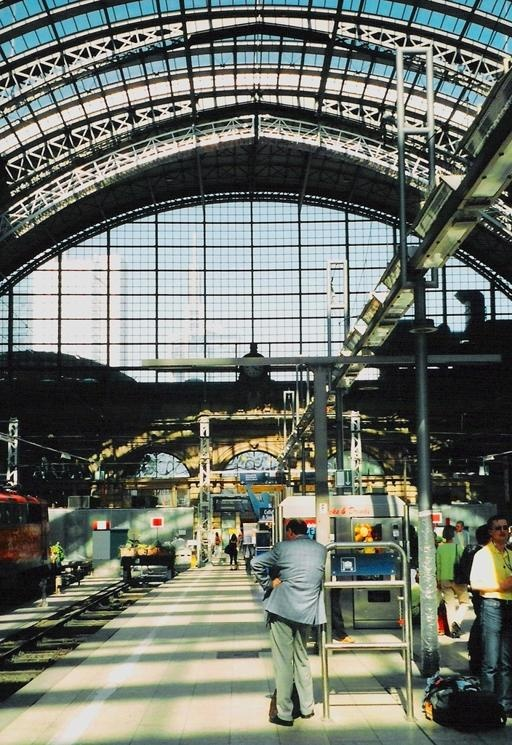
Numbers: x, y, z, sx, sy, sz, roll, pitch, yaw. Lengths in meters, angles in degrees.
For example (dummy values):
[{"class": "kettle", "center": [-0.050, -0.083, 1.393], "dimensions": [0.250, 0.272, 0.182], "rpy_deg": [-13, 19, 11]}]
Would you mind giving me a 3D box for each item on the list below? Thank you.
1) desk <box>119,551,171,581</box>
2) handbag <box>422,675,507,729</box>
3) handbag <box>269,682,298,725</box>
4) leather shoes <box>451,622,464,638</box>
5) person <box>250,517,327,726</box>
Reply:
[{"class": "desk", "center": [-4.726, 8.259, 34.250], "dimensions": [2.001, 1.355, 9.205], "rpy_deg": [-1, -9, -8]}, {"class": "handbag", "center": [1.741, 2.811, 6.752], "dimensions": [0.511, 0.313, 0.741], "rpy_deg": [2, -10, -25]}, {"class": "handbag", "center": [0.258, 2.929, 6.922], "dimensions": [0.131, 0.275, 0.397], "rpy_deg": [4, -5, -11]}, {"class": "leather shoes", "center": [3.064, 3.920, 11.982], "dimensions": [0.093, 0.282, 0.114], "rpy_deg": [-2, 33, 6]}, {"class": "person", "center": [0.331, 2.270, 7.045], "dimensions": [0.641, 1.535, 0.456], "rpy_deg": [5, -12, -38]}]
